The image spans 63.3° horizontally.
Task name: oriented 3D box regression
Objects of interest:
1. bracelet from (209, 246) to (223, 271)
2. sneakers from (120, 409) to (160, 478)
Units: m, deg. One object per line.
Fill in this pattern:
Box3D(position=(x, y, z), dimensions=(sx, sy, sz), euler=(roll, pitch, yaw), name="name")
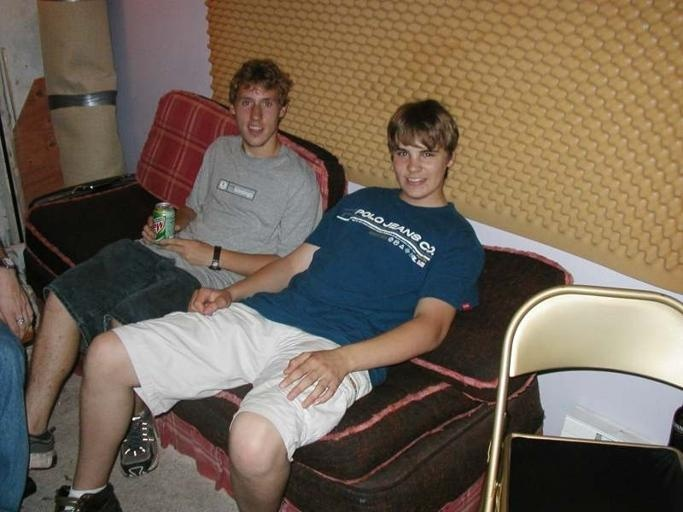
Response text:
Box3D(position=(-0.514, 0.007, 2.273), dimensions=(0.053, 0.088, 0.080), euler=(11, 31, 9), name="bracelet")
Box3D(position=(-0.767, 0.721, 2.110), dimensions=(0.107, 0.120, 0.295), euler=(-13, -2, -18), name="sneakers")
